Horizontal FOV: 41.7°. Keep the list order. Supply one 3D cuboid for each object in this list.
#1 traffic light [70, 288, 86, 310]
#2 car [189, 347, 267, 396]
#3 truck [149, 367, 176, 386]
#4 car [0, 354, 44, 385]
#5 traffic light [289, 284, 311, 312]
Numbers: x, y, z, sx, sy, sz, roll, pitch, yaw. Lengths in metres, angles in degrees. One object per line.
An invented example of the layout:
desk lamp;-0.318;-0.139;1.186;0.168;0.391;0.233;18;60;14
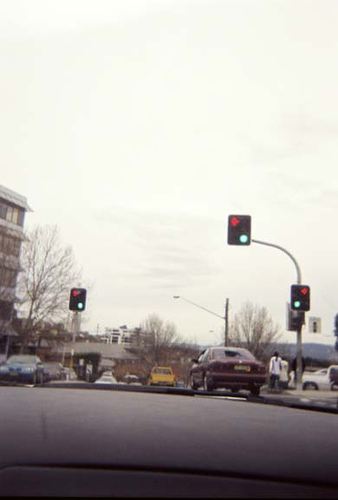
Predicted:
traffic light;-4.474;2.412;21.848;0.999;1.096;0.408;1;-9;20
car;2.000;4.776;17.515;1.489;1.238;3.537;3;-14;-6
truck;-0.579;11.577;40.137;2.246;1.382;2.671;4;-10;6
car;-7.481;6.208;22.819;1.790;1.390;2.401;3;-10;7
traffic light;5.239;1.889;17.620;0.803;1.001;0.357;5;-9;-8
